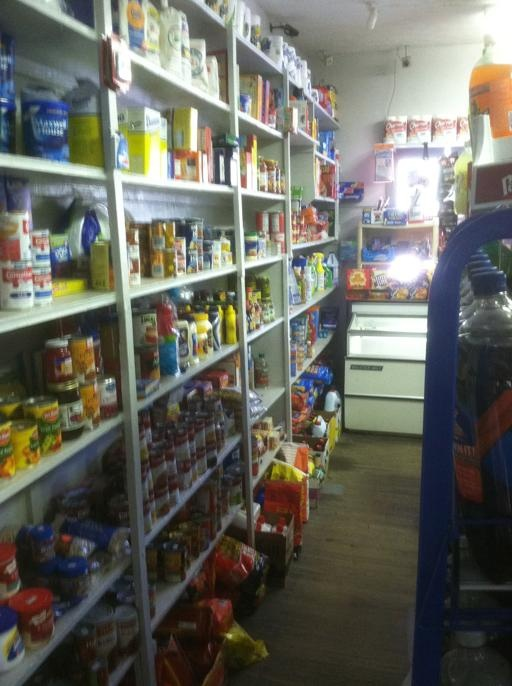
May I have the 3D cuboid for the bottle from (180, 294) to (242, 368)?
[{"bbox_3d":[-0.211,-0.060,2.309,0.107,0.223,0.491,0,15,7],"label":"bottle"}]

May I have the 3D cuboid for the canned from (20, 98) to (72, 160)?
[{"bbox_3d":[-0.468,-0.483,1.182,0.045,0.136,0.172,1,9,10],"label":"canned"}]
